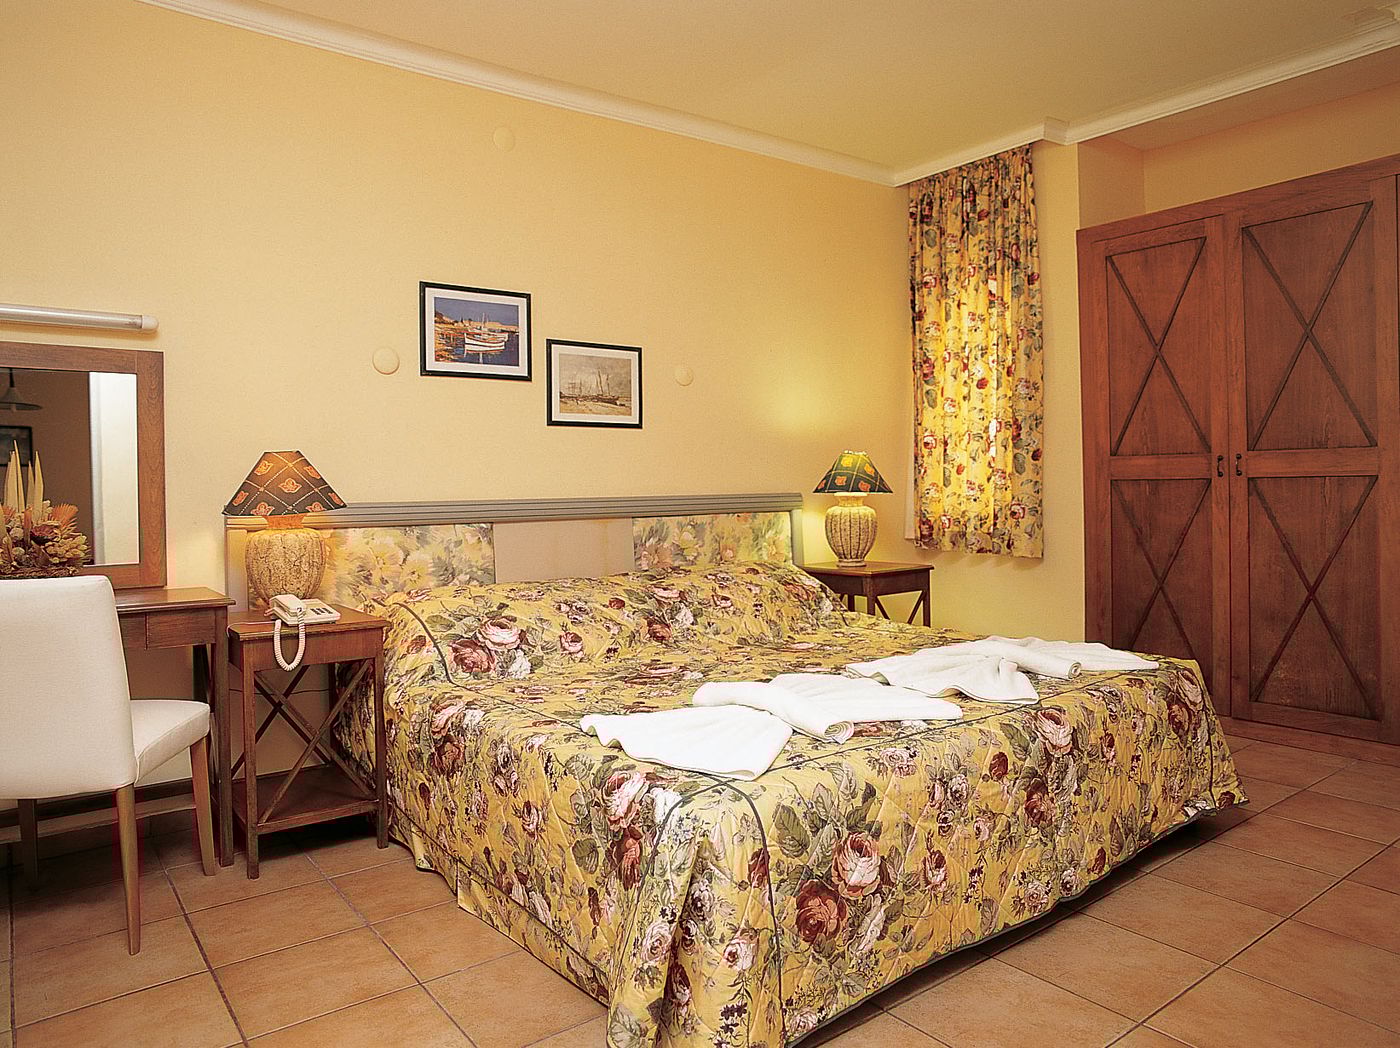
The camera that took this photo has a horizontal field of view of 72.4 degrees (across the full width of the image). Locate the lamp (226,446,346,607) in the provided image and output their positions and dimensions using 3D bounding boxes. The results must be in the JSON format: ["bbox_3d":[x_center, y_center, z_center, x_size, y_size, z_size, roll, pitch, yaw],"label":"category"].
[{"bbox_3d":[-1.644,0.014,4.098,0.542,0.760,0.576,0,0,39],"label":"lamp"}]

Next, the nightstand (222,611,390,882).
[{"bbox_3d":[-1.569,0.783,3.775,0.630,0.880,0.701,-2,2,-24],"label":"nightstand"}]

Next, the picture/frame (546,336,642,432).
[{"bbox_3d":[-0.551,-0.702,4.753,0.465,0.376,0.017,2,-3,-34],"label":"picture/frame"}]

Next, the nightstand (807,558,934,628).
[{"bbox_3d":[0.942,0.325,5.385,0.466,0.519,0.482,-2,3,-23],"label":"nightstand"}]

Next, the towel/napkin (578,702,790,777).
[{"bbox_3d":[-0.034,0.627,2.751,0.611,0.071,0.402,-1,10,-1],"label":"towel/napkin"}]
